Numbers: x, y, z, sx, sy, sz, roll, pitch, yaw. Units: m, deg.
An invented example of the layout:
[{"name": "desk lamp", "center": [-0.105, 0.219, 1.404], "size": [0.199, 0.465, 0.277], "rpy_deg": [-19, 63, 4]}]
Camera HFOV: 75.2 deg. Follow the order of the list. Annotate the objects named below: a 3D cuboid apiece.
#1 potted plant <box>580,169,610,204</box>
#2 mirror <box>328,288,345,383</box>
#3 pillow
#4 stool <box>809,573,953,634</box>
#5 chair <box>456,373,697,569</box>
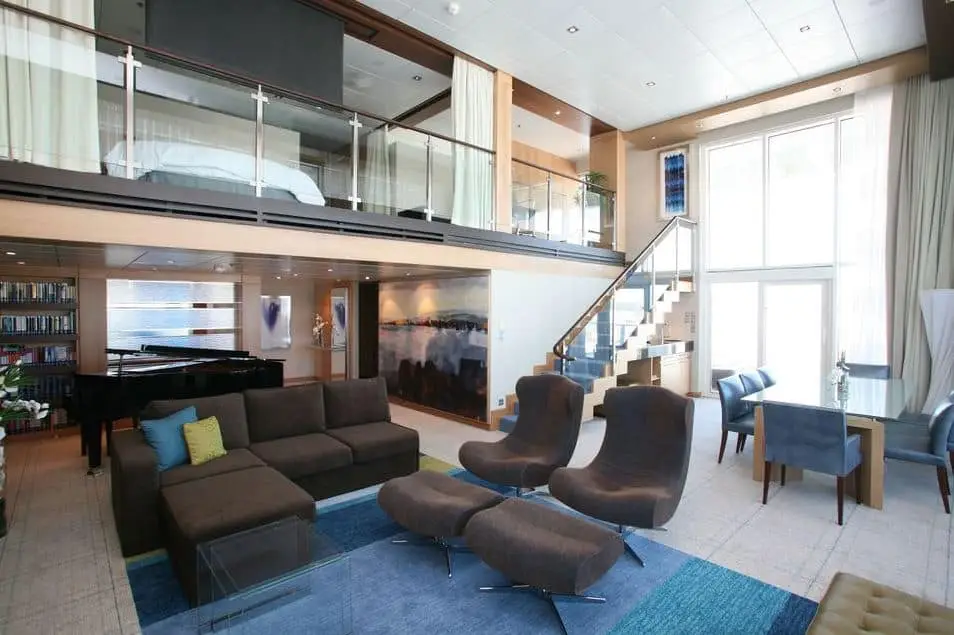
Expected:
[{"name": "potted plant", "center": [2.335, -2.540, 11.923], "size": [0.517, 0.848, 1.327], "rpy_deg": [0, 1, 14]}, {"name": "mirror", "center": [-2.988, 0.350, 13.275], "size": [0.360, 1.939, 0.364], "rpy_deg": [0, 2, -16]}, {"name": "pillow", "center": [-3.265, 1.351, 6.764], "size": [0.242, 0.671, 0.762], "rpy_deg": [-31, -10, 40]}, {"name": "stool", "center": [3.589, 2.569, 5.508], "size": [0.538, 0.166, 0.748], "rpy_deg": [-11, 4, -37]}, {"name": "chair", "center": [1.277, 1.546, 6.924], "size": [1.914, 1.916, 1.600], "rpy_deg": [6, -1, -40]}]
